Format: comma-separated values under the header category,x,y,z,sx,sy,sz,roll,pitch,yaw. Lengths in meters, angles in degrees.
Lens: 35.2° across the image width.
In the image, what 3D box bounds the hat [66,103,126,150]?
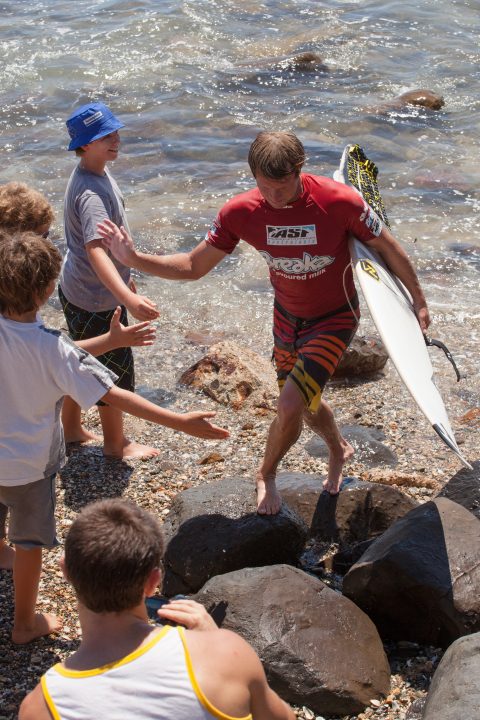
category,x,y,z,sx,sy,sz,roll,pitch,yaw
hat,-0.850,-1.349,4.445,0.327,0.163,0.311,-26,27,10
